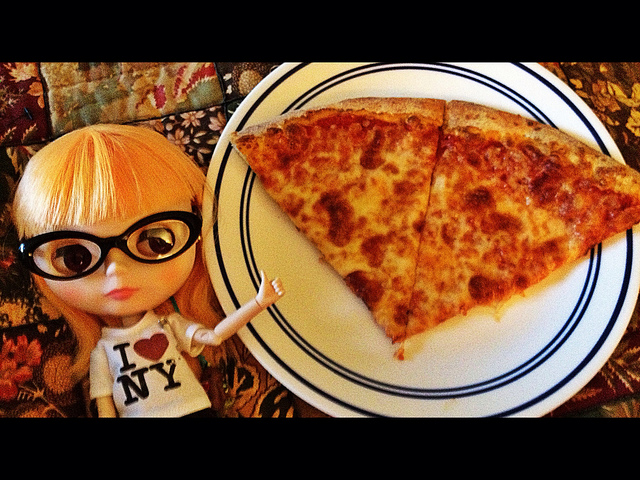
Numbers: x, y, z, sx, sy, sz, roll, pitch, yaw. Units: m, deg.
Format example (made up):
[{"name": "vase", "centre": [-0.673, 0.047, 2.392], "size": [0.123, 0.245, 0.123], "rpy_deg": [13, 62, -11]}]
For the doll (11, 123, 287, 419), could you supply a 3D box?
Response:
[{"name": "doll", "centre": [-0.420, 0.082, 1.431], "size": [0.506, 0.289, 0.764], "rpy_deg": [-13, 85, -18]}]

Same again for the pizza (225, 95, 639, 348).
[{"name": "pizza", "centre": [0.287, -0.150, 1.511], "size": [0.833, 0.173, 0.711], "rpy_deg": [-28, 77, -9]}]
